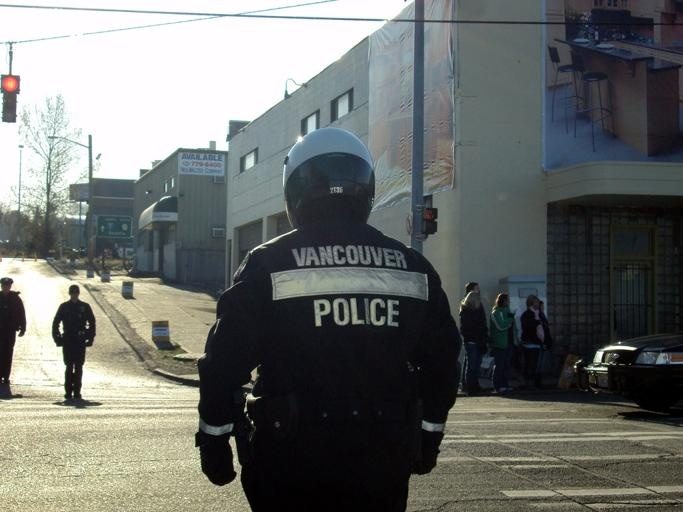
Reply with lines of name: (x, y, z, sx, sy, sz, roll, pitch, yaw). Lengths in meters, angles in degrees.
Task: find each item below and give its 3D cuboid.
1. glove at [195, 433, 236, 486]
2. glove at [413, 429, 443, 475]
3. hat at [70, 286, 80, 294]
glove: (-1.241, 2.081, 10.899, 0.354, 0.541, 0.291, 29, -11, -39)
glove: (0.895, 2.055, 11.041, 0.287, 0.491, 0.281, 2, 3, 17)
hat: (-5.298, 0.672, 20.876, 0.154, 0.237, 0.215, -2, 3, -13)
